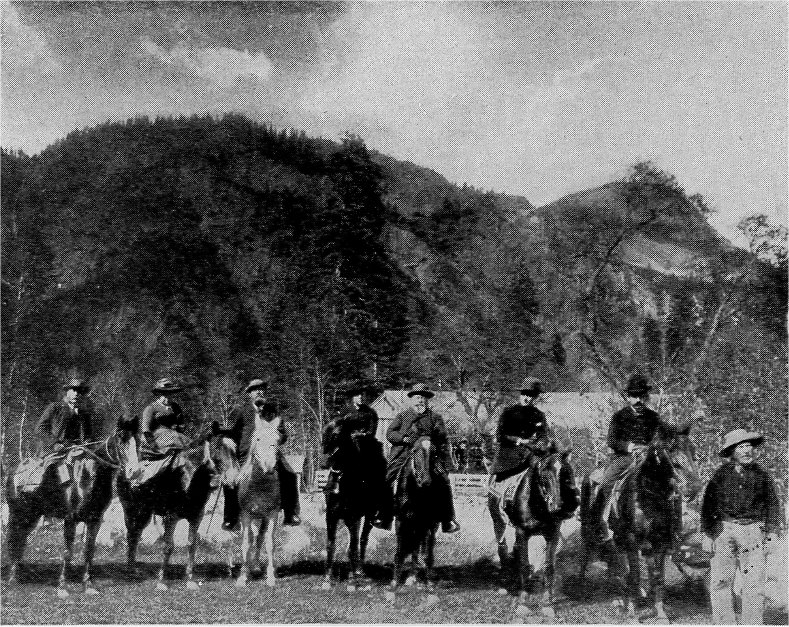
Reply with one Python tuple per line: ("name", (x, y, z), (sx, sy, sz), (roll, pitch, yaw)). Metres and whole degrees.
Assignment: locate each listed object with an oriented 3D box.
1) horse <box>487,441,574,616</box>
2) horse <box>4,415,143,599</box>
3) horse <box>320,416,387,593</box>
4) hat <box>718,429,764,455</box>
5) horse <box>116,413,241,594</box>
("horse", (2.075, 3.007, 14.465), (1.141, 2.324, 1.476), (5, -19, -13))
("horse", (-4.757, 2.996, 15.158), (2.509, 2.595, 0.963), (-5, -16, 15))
("horse", (-0.591, 2.620, 14.981), (0.875, 2.209, 1.021), (1, -19, 0))
("hat", (5.186, 1.996, 15.329), (0.464, 0.138, 0.477), (-8, -19, -24))
("horse", (-3.436, 2.788, 15.065), (1.565, 2.437, 0.976), (5, -19, -13))
